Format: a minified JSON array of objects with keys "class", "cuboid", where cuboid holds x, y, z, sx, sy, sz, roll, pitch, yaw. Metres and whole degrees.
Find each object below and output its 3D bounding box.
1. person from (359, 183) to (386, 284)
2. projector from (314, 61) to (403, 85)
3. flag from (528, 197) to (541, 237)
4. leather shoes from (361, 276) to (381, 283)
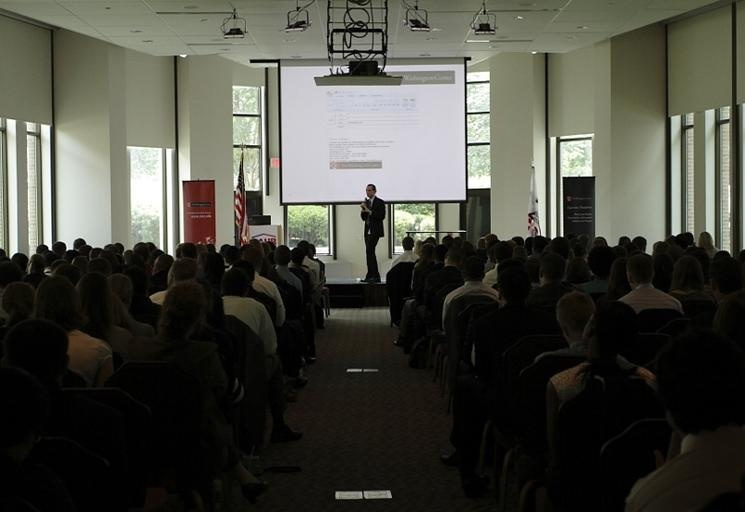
[{"class":"person","cuboid":[-0.035,-0.435,13.043,0.549,1.894,0.583,0,4,-33]},{"class":"projector","cuboid":[-0.231,-2.878,10.590,1.283,0.446,0.954,-1,4,-3]},{"class":"flag","cuboid":[3.590,-0.904,15.023,0.195,0.851,0.985,0,4,14]},{"class":"leather shoes","cuboid":[-0.029,0.453,13.255,0.360,0.154,0.127,2,-2,15]}]
